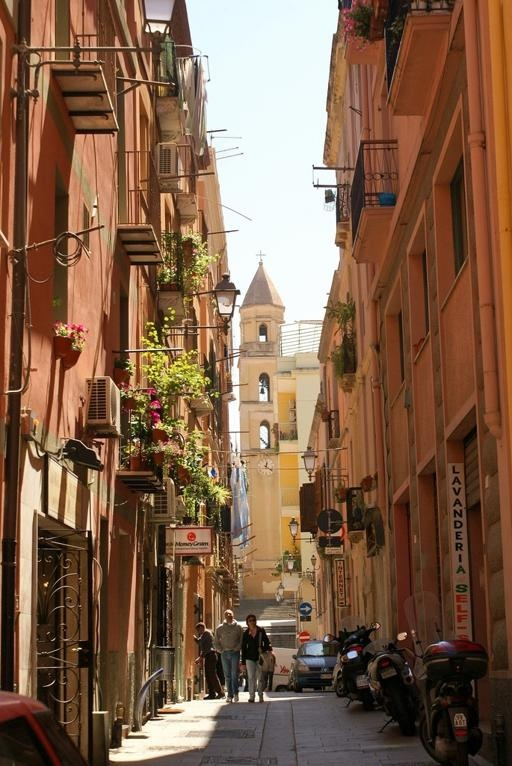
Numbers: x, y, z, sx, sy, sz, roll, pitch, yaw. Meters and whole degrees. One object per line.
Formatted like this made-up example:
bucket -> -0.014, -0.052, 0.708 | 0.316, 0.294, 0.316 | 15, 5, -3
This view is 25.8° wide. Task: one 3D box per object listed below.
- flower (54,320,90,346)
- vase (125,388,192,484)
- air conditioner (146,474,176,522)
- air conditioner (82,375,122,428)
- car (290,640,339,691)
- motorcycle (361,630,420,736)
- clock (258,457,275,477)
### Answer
flower -> -1.660, -0.452, 9.838 | 0.197, 0.130, 0.220 | -2, -9, 30
vase -> -1.332, 0.722, 14.740 | 0.723, 1.504, 1.205 | -3, -13, 10
air conditioner -> -1.442, 1.722, 16.765 | 0.235, 0.810, 0.738 | 0, -9, 3
air conditioner -> -1.596, 0.219, 11.522 | 0.240, 0.550, 0.304 | 1, -3, 2
car -> 1.431, 6.740, 27.306 | 0.927, 1.258, 2.367 | -1, -18, -2
motorcycle -> 1.389, 3.104, 11.547 | 0.532, 1.256, 0.597 | -5, -2, 10
clock -> 0.740, 6.307, 84.128 | 1.215, 1.565, 0.994 | -5, -16, 3
